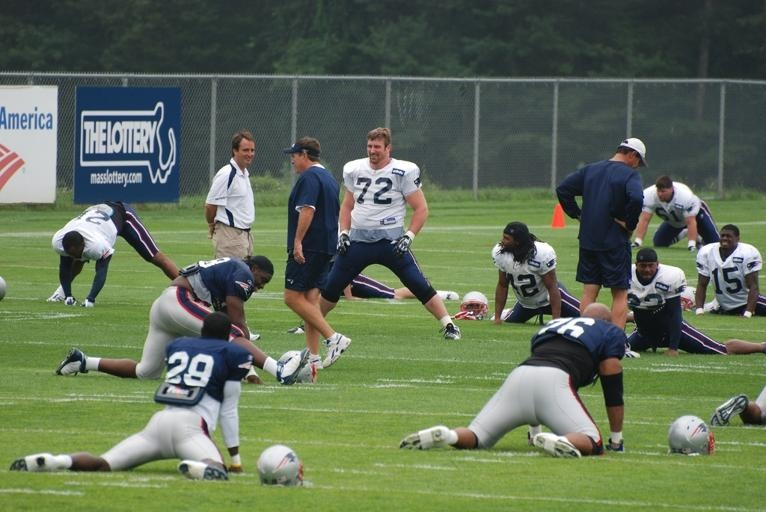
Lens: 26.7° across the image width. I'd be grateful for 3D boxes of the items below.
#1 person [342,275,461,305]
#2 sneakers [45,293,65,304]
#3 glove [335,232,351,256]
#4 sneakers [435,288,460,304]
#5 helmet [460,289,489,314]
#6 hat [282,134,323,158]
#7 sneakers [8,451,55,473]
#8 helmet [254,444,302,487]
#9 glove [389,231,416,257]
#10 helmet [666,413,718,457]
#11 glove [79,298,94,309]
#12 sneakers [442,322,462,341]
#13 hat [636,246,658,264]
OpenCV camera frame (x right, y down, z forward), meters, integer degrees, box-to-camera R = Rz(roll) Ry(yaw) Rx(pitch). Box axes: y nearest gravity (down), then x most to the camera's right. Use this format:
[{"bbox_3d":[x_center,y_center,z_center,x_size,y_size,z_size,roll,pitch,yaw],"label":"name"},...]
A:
[{"bbox_3d":[0.079,0.707,31.266,1.534,0.343,0.835,6,-9,-2],"label":"person"},{"bbox_3d":[-6.139,0.785,30.014,0.420,0.166,0.138,1,6,14],"label":"sneakers"},{"bbox_3d":[-0.685,-0.192,26.771,0.241,0.301,0.092,-16,-39,31],"label":"glove"},{"bbox_3d":[1.260,0.777,31.039,0.425,0.140,0.244,13,-1,-39],"label":"sneakers"},{"bbox_3d":[1.661,0.867,29.741,0.356,0.347,0.448,1,-11,4],"label":"helmet"},{"bbox_3d":[-1.322,-1.780,26.323,0.538,0.270,0.318,10,6,2],"label":"hat"},{"bbox_3d":[-4.804,2.797,22.020,0.382,0.142,0.284,1,2,15],"label":"sneakers"},{"bbox_3d":[-1.366,2.839,22.041,0.486,0.458,0.589,20,27,29],"label":"helmet"},{"bbox_3d":[0.286,-0.209,26.927,0.285,0.406,0.166,30,-5,-32],"label":"glove"},{"bbox_3d":[4.343,2.590,23.068,0.646,0.498,0.468,-12,33,-3],"label":"helmet"},{"bbox_3d":[-5.436,0.878,29.692,0.110,0.117,0.287,1,5,-29],"label":"glove"},{"bbox_3d":[1.149,1.315,27.875,0.275,0.264,0.575,1,-7,1],"label":"sneakers"},{"bbox_3d":[4.382,-0.002,27.137,0.250,0.231,0.307,-1,-12,-16],"label":"hat"}]
